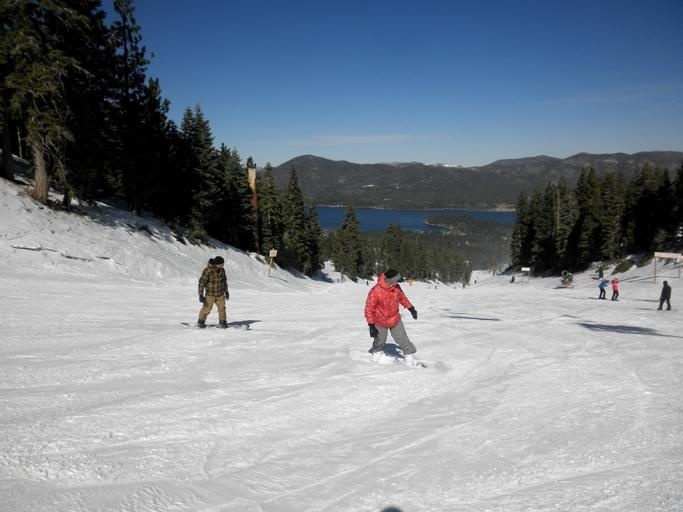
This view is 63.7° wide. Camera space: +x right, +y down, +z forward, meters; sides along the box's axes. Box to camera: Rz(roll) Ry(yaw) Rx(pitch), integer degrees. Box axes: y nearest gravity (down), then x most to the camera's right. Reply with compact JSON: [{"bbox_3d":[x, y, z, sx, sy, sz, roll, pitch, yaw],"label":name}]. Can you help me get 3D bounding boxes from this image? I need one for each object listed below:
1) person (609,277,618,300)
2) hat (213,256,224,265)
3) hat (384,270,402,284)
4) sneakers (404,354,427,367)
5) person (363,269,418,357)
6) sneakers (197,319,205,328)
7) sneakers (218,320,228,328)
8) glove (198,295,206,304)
[{"bbox_3d":[16.554,2.007,33.286,0.311,1.321,2.245,5,10,25],"label":"person"},{"bbox_3d":[-3.739,0.131,16.751,0.311,0.324,0.235,-1,6,39],"label":"hat"},{"bbox_3d":[1.258,0.484,13.470,0.382,0.214,0.293,-5,37,13],"label":"hat"},{"bbox_3d":[1.824,2.664,14.036,0.659,0.270,0.256,13,-10,-15],"label":"sneakers"},{"bbox_3d":[1.218,1.591,13.834,1.398,2.479,1.087,-1,15,18],"label":"person"},{"bbox_3d":[-4.358,2.069,17.171,0.282,0.289,0.192,1,1,29],"label":"sneakers"},{"bbox_3d":[-3.777,2.142,17.591,0.229,0.225,0.233,0,0,1],"label":"sneakers"},{"bbox_3d":[-4.160,1.269,16.507,0.141,0.323,0.471,-1,9,-11],"label":"glove"}]
